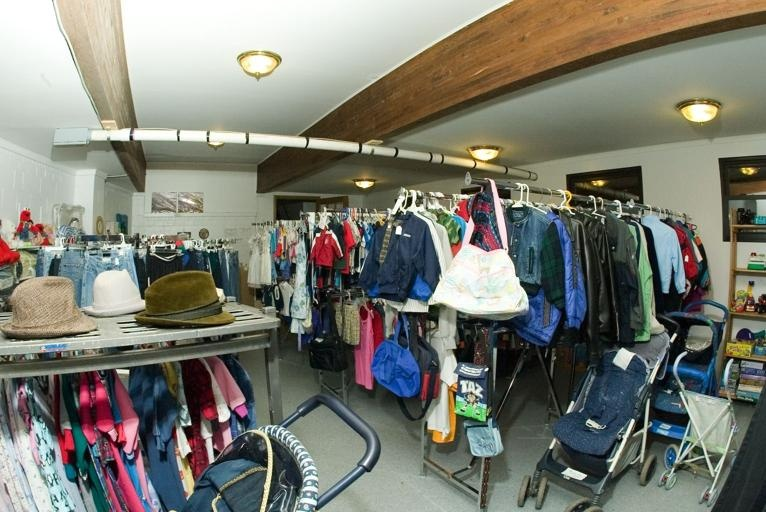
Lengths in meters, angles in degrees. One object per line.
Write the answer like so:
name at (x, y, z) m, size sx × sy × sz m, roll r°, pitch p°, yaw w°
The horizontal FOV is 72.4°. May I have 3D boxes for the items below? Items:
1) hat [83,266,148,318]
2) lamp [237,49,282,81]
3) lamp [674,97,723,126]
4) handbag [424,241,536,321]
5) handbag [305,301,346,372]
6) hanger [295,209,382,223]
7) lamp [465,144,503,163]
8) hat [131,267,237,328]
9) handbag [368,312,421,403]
hat at (-1.707, 0.226, 3.290) m, size 0.314 × 0.192 × 0.286 m, roll -8°, pitch 4°, yaw 5°
lamp at (-1.130, -1.784, 4.922) m, size 0.418 × 0.237 × 0.317 m, roll -8°, pitch 8°, yaw -37°
lamp at (3.171, -1.478, 5.348) m, size 0.293 × 0.157 × 0.286 m, roll 1°, pitch -3°, yaw -4°
handbag at (0.677, 0.164, 3.663) m, size 0.574 × 0.440 × 0.344 m, roll 3°, pitch 9°, yaw 42°
handbag at (-0.597, 0.853, 5.454) m, size 0.356 × 0.799 × 0.579 m, roll -4°, pitch 7°, yaw -10°
hanger at (-0.471, -0.449, 5.861) m, size 0.384 × 0.101 × 0.423 m, roll -2°, pitch -2°, yaw 45°
lamp at (1.358, -1.401, 7.026) m, size 0.457 × 0.167 × 0.310 m, roll -1°, pitch 7°, yaw 11°
hat at (-1.168, 0.256, 3.054) m, size 0.426 × 0.171 × 0.365 m, roll -2°, pitch 2°, yaw -4°
handbag at (0.080, 0.833, 4.192) m, size 0.263 × 0.647 × 0.499 m, roll -6°, pitch 7°, yaw -26°
